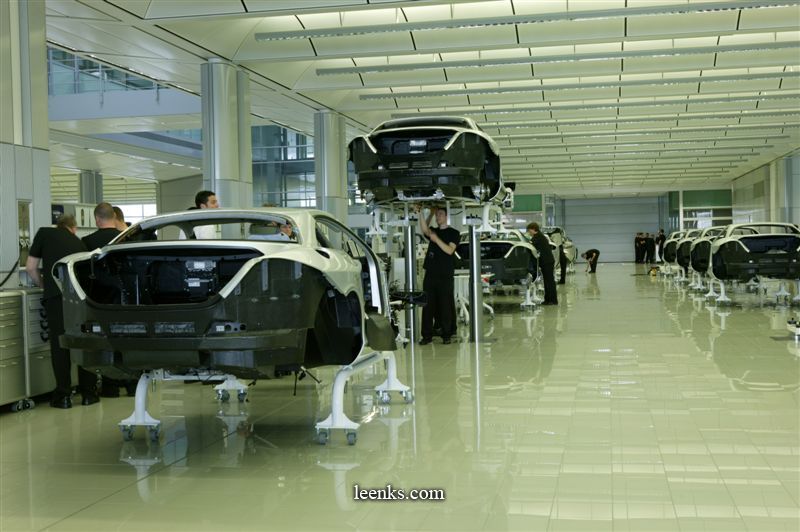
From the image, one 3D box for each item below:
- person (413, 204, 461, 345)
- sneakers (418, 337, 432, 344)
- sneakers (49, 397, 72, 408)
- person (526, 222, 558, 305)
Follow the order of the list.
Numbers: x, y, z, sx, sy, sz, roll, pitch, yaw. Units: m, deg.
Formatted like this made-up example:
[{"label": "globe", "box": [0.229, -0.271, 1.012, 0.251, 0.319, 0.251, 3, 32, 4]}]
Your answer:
[{"label": "person", "box": [0.617, 0.177, 12.123, 0.646, 2.307, 1.068, -2, 11, 1]}, {"label": "sneakers", "box": [0.420, 1.227, 12.575, 0.242, 0.089, 0.082, -12, 6, 12]}, {"label": "sneakers", "box": [-4.087, 1.646, 9.240, 0.282, 0.096, 0.115, 3, 2, 29]}, {"label": "person", "box": [3.212, -0.061, 17.804, 0.958, 1.984, 0.840, -1, -8, -3]}]
